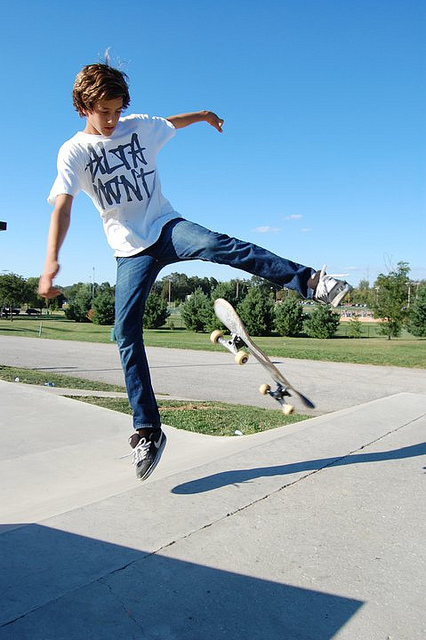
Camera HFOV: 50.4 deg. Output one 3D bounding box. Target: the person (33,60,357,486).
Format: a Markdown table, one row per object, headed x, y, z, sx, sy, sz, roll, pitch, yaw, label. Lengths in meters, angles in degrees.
| x | y | z | sx | sy | sz | roll | pitch | yaw | label |
| --- | --- | --- | --- | --- | --- | --- | --- | --- | --- |
| -0.311 | -0.516 | 2.799 | 1.585 | 2.275 | 0.828 | -26 | -14 | -3 | person |

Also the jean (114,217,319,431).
| x | y | z | sx | sy | sz | roll | pitch | yaw | label |
| --- | --- | --- | --- | --- | --- | --- | --- | --- | --- |
| -0.112 | 0.035 | 2.909 | 1.180 | 1.444 | 0.416 | -3 | -2 | 34 | jean |
